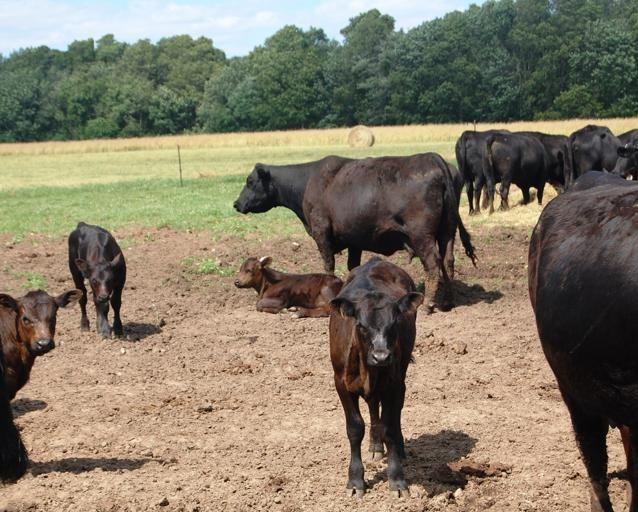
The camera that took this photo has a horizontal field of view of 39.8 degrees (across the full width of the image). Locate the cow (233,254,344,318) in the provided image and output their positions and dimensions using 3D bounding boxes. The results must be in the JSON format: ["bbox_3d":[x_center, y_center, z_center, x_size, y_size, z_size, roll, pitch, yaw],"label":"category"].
[{"bbox_3d":[-0.596,0.571,15.674,1.982,1.094,0.870,2,-7,14],"label":"cow"}]

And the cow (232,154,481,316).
[{"bbox_3d":[0.828,-0.820,16.884,2.598,2.624,5.054,-13,17,-39],"label":"cow"}]
